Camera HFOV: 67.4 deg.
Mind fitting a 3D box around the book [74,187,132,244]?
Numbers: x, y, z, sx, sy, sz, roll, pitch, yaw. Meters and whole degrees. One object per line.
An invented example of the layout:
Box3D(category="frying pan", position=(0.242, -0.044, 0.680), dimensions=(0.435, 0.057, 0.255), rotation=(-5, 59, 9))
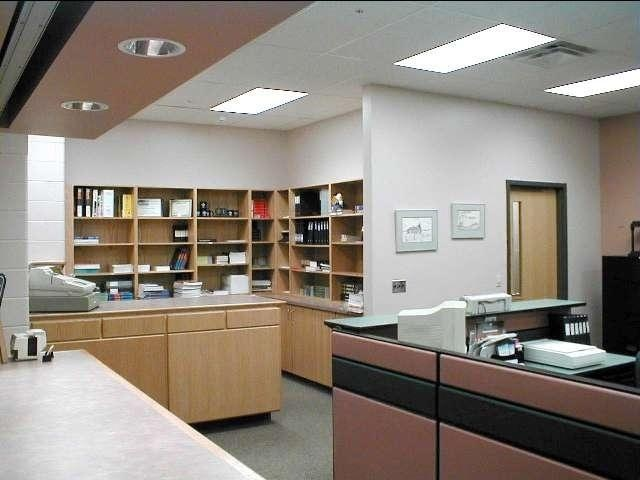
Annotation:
Box3D(category="book", position=(-2.872, -0.333, 6.364), dimensions=(0.725, 0.600, 0.396), rotation=(1, -1, -28))

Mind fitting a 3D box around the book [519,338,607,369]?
Box3D(category="book", position=(1.880, 0.879, 3.638), dimensions=(0.593, 0.130, 0.293), rotation=(1, -1, -12))

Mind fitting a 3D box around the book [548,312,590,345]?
Box3D(category="book", position=(2.374, 0.762, 4.539), dimensions=(0.380, 0.389, 0.264), rotation=(0, -3, -25))

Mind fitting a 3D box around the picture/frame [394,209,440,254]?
Box3D(category="picture/frame", position=(1.071, -0.101, 5.423), dimensions=(0.503, 0.426, 0.036), rotation=(0, -2, -32))

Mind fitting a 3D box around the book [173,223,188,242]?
Box3D(category="book", position=(-1.970, -0.100, 6.777), dimensions=(0.151, 0.332, 0.229), rotation=(-8, -8, 40))

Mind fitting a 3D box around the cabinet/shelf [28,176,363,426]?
Box3D(category="cabinet/shelf", position=(-1.334, 0.584, 5.203), dimensions=(2.760, 1.899, 1.400), rotation=(0, -2, -29))

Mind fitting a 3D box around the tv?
Box3D(category="tv", position=(0.803, 0.612, 3.446), dimensions=(0.462, 0.323, 0.121), rotation=(0, -1, 26))

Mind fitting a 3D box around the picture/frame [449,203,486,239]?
Box3D(category="picture/frame", position=(1.809, -0.227, 5.847), dimensions=(0.538, 0.434, 0.026), rotation=(1, -1, -29))

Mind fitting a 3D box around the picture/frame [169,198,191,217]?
Box3D(category="picture/frame", position=(-1.922, -0.427, 6.695), dimensions=(0.362, 0.331, 0.208), rotation=(0, -2, -14))
